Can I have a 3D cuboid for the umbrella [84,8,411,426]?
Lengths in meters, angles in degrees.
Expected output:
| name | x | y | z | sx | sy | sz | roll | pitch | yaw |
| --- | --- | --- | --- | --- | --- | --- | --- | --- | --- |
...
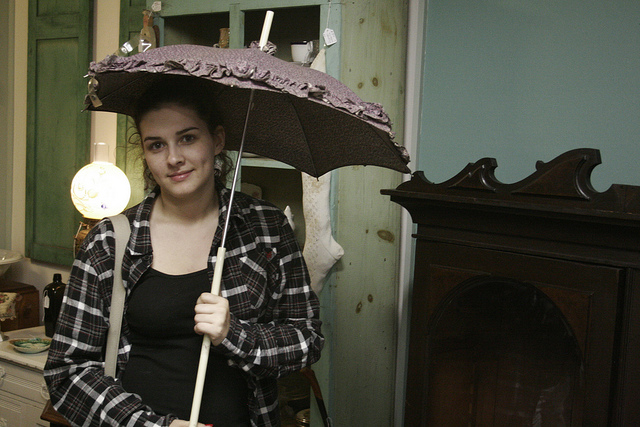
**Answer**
| name | x | y | z | sx | sy | sz | roll | pitch | yaw |
| --- | --- | --- | --- | --- | --- | --- | --- | --- | --- |
| umbrella | -0.238 | 0.022 | 1.821 | 0.976 | 1.244 | 0.644 | 10 | -11 | -25 |
